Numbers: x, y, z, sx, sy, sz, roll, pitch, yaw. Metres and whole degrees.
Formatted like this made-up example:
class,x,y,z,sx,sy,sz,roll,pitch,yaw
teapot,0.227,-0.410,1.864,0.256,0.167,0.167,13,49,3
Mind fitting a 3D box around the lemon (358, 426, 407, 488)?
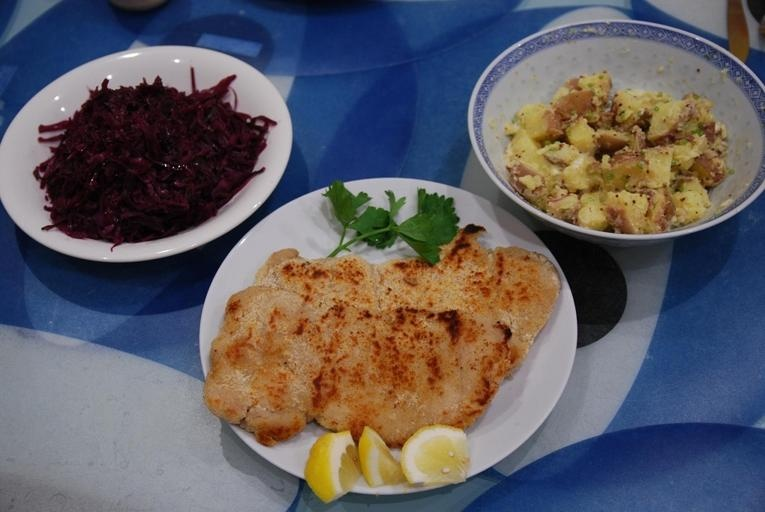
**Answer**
class,x,y,z,sx,sy,sz,roll,pitch,yaw
lemon,-0.027,1.128,3.744,0.320,0.098,0.221,45,49,6
